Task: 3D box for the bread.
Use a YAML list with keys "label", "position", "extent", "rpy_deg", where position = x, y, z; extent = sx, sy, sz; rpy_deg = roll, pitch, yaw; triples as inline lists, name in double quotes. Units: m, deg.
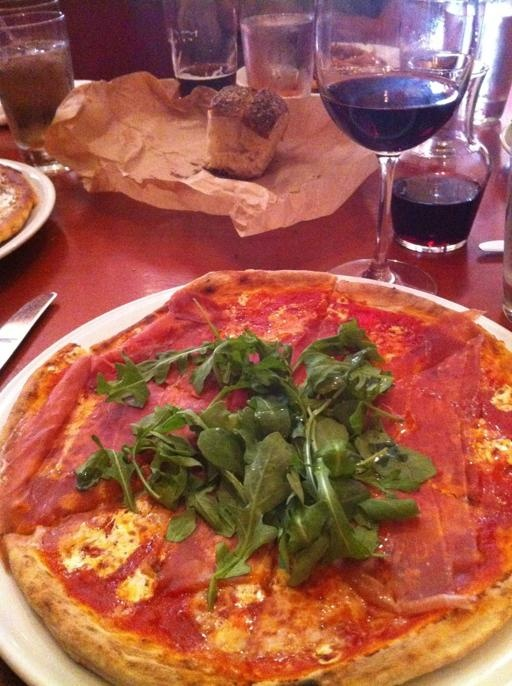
- label: "bread"
  position: [-0.029, -0.487, 1.411]
  extent: [0.193, 0.210, 0.226]
  rpy_deg: [15, 24, 3]
